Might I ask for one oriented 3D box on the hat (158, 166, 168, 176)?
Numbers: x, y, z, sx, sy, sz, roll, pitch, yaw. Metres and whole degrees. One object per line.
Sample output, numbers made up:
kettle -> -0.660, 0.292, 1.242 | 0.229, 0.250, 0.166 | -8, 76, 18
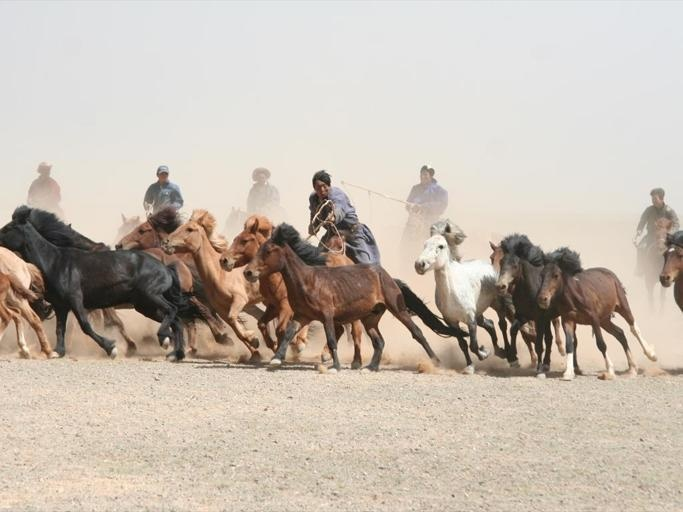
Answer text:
hat -> -4.164, -1.956, 22.079 | 0.212, 0.267, 0.688 | -1, 10, -13
